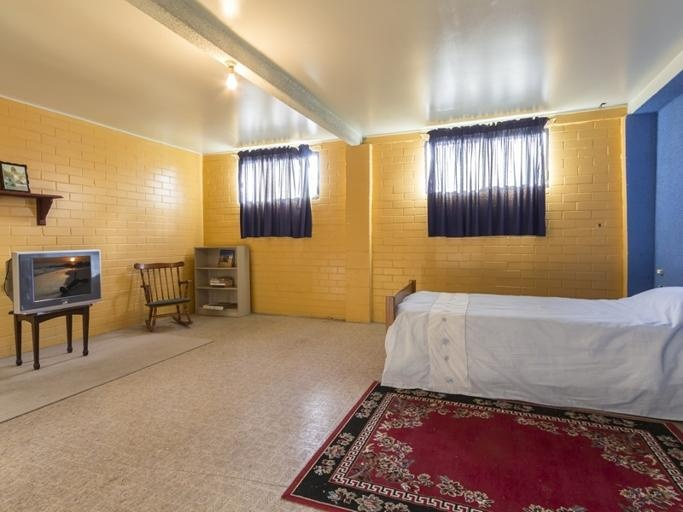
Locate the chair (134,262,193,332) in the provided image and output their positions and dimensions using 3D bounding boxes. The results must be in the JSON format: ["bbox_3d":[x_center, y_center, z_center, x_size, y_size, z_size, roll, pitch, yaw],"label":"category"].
[{"bbox_3d":[-2.616,0.598,6.788,0.801,0.956,0.829,2,5,32],"label":"chair"}]

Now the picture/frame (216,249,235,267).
[{"bbox_3d":[-1.927,0.032,7.470,0.313,0.290,0.044,1,-4,26],"label":"picture/frame"}]

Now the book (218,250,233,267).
[{"bbox_3d":[-1.916,0.052,7.449,0.286,0.262,0.040,0,-2,26],"label":"book"}]

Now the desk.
[{"bbox_3d":[-3.316,0.753,5.348,0.653,0.888,0.968,2,2,16],"label":"desk"}]

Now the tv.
[{"bbox_3d":[-3.285,0.275,5.220,0.634,0.857,1.109,0,1,28],"label":"tv"}]
